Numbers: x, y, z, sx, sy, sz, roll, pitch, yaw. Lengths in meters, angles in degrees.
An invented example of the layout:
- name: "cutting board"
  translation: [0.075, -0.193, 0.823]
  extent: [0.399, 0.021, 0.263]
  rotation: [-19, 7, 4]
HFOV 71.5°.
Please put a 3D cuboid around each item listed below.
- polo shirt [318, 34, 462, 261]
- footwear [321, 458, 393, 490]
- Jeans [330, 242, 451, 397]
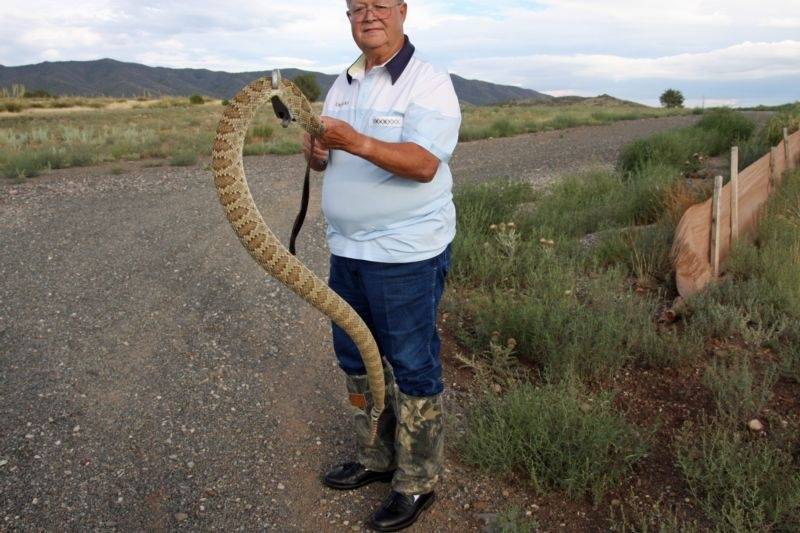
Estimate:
- name: "polo shirt"
  translation: [-0.089, -1.020, 5.053]
  extent: [1.508, 1.975, 1.036]
  rotation: [11, 14, 44]
- name: "footwear"
  translation: [-0.425, 2.172, 5.810]
  extent: [0.656, 0.347, 0.323]
  rotation: [4, 35, -9]
- name: "Jeans"
  translation: [-0.157, 0.446, 5.731]
  extent: [1.187, 1.761, 0.965]
  rotation: [10, 25, 31]
